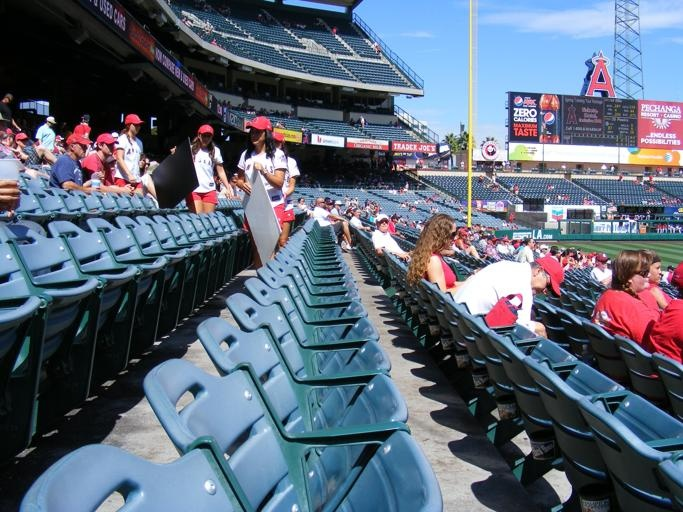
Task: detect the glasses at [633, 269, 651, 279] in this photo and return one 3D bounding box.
[{"bbox_3d":[2.157,0.116,3.726,0.107,0.037,0.112,4,-4,-27],"label":"glasses"}]

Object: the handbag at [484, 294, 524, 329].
[{"bbox_3d":[1.162,0.373,3.676,0.181,0.305,0.105,34,-12,34],"label":"handbag"}]
